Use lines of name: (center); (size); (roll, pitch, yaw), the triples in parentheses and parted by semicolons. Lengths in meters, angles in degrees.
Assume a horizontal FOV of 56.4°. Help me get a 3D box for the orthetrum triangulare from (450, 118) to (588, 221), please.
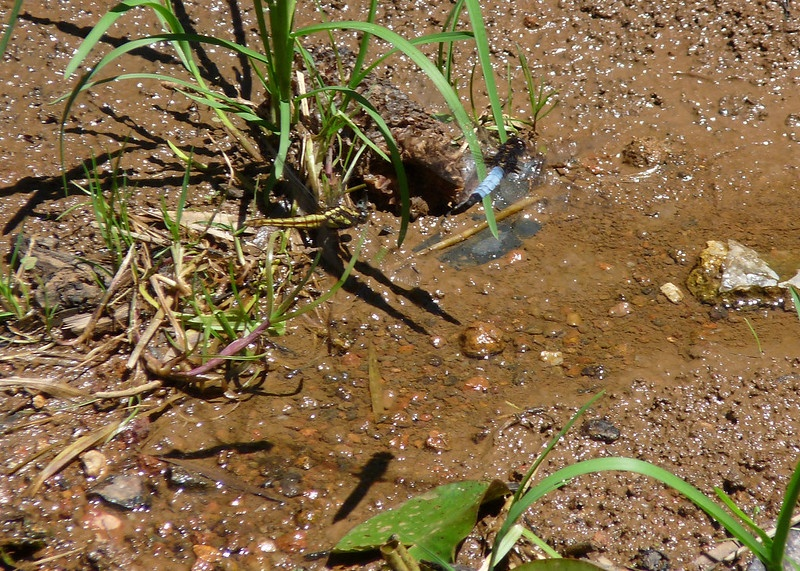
orthetrum triangulare: (0.586, -0.577, 3.752); (0.629, 0.304, 0.171); (-44, 114, -24)

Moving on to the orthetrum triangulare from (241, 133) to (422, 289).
orthetrum triangulare: (-0.381, -0.296, 3.450); (0.796, 0.441, 0.166); (-20, 85, 26)
